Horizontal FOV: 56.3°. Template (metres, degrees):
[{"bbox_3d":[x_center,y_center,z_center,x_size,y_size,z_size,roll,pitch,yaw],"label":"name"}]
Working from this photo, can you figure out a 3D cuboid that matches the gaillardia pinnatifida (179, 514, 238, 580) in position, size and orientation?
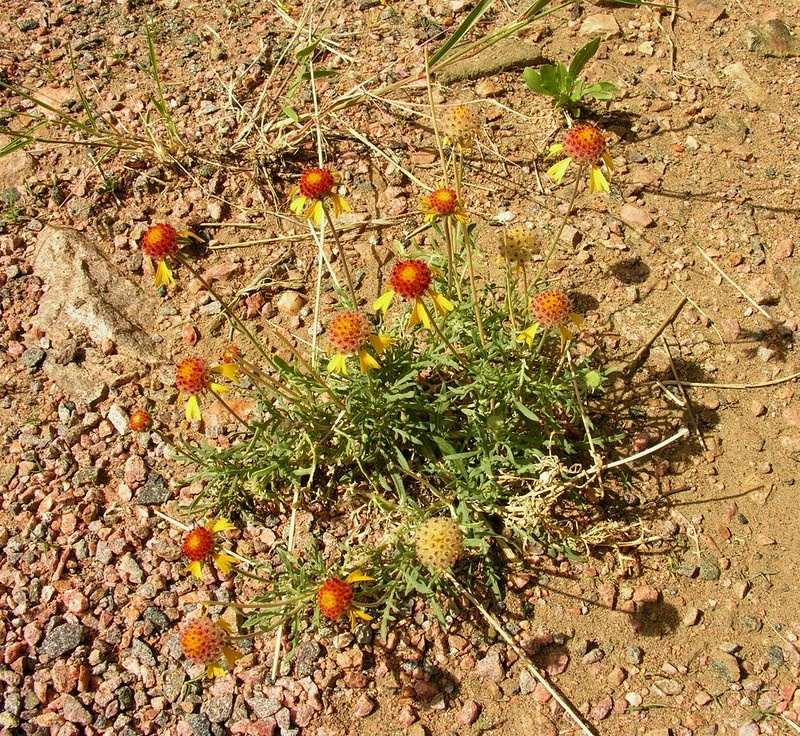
[{"bbox_3d":[-0.761,0.717,2.986,0.343,0.335,0.096,39,58,-22],"label":"gaillardia pinnatifida"}]

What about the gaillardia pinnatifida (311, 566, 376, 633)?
[{"bbox_3d":[-0.214,0.911,2.934,0.240,0.136,0.270,17,48,-27],"label":"gaillardia pinnatifida"}]

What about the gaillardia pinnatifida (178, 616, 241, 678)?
[{"bbox_3d":[-0.707,1.044,2.826,0.154,0.234,0.226,-35,64,-10],"label":"gaillardia pinnatifida"}]

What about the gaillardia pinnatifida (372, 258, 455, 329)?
[{"bbox_3d":[0.050,-0.286,3.012,0.291,0.184,0.301,-39,64,-23],"label":"gaillardia pinnatifida"}]

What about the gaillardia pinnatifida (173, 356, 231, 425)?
[{"bbox_3d":[-0.797,0.051,3.048,0.212,0.326,0.183,8,102,-27],"label":"gaillardia pinnatifida"}]

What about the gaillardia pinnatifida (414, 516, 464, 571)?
[{"bbox_3d":[0.151,0.663,2.864,0.183,0.130,0.196,4,65,10],"label":"gaillardia pinnatifida"}]

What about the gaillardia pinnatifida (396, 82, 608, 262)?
[{"bbox_3d":[0.582,-1.023,3.998,0.747,0.826,0.703,-15,57,-30],"label":"gaillardia pinnatifida"}]
